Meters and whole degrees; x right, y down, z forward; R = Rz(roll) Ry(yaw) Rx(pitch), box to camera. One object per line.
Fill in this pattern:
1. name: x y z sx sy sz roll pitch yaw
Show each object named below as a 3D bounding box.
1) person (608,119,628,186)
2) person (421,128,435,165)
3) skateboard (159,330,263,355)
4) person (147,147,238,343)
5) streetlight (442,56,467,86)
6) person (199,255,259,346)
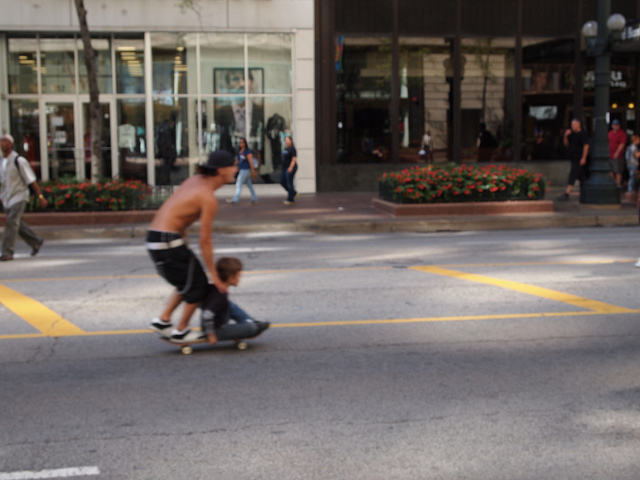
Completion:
1. person: 8.778 -2.610 24.622 0.493 1.797 0.710 3 9 21
2. person: 3.529 -3.121 27.186 0.475 1.131 0.153 -3 9 -16
3. skateboard: -1.140 1.049 8.566 0.679 0.135 0.194 -3 10 -14
4. person: -1.296 0.066 8.483 0.859 2.002 0.927 4 12 3
5. streetlight: 4.316 -5.577 27.059 0.836 0.970 0.103 2 10 8
6. person: -0.917 0.591 8.573 0.642 0.893 0.606 -11 19 -30
